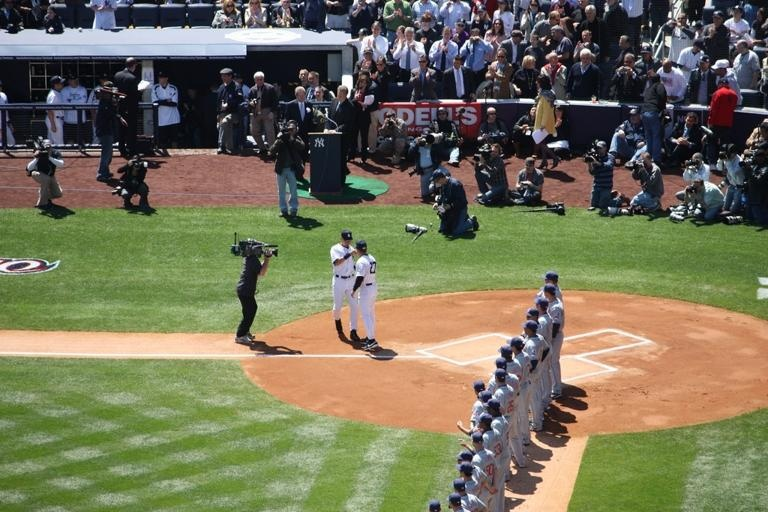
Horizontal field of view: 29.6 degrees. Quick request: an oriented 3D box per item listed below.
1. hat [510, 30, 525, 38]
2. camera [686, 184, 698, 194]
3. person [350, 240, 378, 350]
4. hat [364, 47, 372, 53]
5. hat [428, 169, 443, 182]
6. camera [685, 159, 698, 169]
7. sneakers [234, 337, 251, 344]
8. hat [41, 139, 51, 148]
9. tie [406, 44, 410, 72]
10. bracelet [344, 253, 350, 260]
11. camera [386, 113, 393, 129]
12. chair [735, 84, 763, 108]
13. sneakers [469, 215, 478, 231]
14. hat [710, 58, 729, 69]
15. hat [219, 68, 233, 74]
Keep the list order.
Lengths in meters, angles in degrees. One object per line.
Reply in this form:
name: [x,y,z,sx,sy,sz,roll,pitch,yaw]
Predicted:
hat: [4.875,-8.094,52.821,0.379,0.334,0.291,-2,27,3]
camera: [9.990,-2.178,47.167,0.278,0.251,0.165,10,10,-2]
person: [-0.512,1.091,40.788,0.730,3.026,0.921,1,9,-2]
hat: [-0.585,-7.479,52.656,0.327,0.192,0.518,1,9,-1]
hat: [1.753,-2.585,46.384,0.330,0.229,0.450,-23,7,5]
camera: [10.006,-2.992,47.088,0.342,0.315,0.211,14,13,39]
sneakers: [-3.994,2.417,41.260,0.461,0.186,0.163,0,10,3]
hat: [-11.093,-3.716,47.957,0.272,0.320,0.778,-1,4,-25]
tie: [0.918,-7.384,53.865,0.155,0.780,0.081,2,9,2]
bracelet: [-1.023,-0.002,40.972,0.237,0.150,0.051,-5,11,-37]
camera: [0.207,-4.829,51.602,0.305,0.404,0.152,3,8,2]
chair: [12.654,-5.452,50.220,1.031,0.699,0.590,3,9,32]
sneakers: [2.935,-1.067,47.376,0.212,0.548,0.242,-8,8,8]
hat: [11.427,-6.510,49.537,0.645,0.299,0.464,3,21,14]
hat: [-5.626,-6.758,52.553,0.350,0.150,0.465,1,0,18]
